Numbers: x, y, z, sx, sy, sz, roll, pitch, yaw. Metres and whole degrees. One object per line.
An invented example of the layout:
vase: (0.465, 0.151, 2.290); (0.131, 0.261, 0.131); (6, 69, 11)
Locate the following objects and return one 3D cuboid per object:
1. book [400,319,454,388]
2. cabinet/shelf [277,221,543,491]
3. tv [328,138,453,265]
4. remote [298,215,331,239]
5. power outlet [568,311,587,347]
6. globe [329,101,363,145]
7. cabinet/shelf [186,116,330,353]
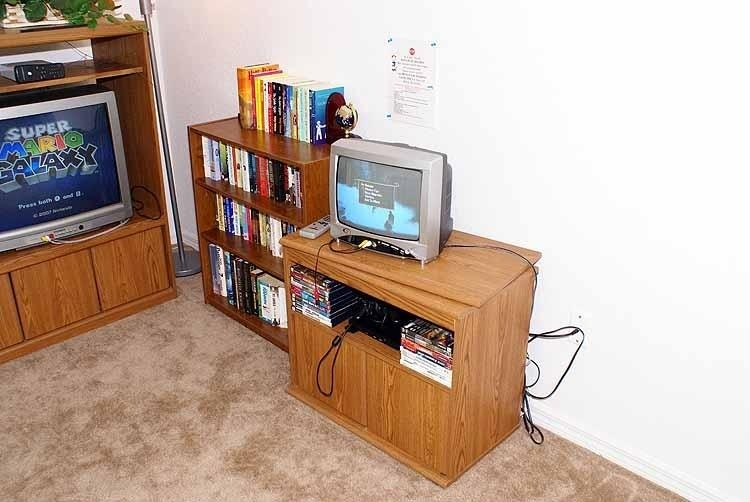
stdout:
book: (0.247, 0.467, 2.551); (0.155, 0.206, 0.287); (-14, 29, -41)
cabinet/shelf: (0.155, 0.450, 3.017); (1.140, 1.018, 0.664); (21, 33, 39)
tv: (0.114, -0.283, 2.821); (0.619, 0.517, 0.403); (15, 27, 33)
remote: (-0.294, -0.129, 2.948); (0.087, 0.023, 0.168); (14, 32, 26)
power outlet: (0.985, 0.382, 2.739); (0.033, 0.129, 0.095); (-7, 16, -28)
globe: (-0.184, -0.747, 3.144); (0.164, 0.255, 0.191); (-19, 29, -39)
cabinet/shelf: (-0.669, -0.111, 3.322); (1.125, 1.275, 0.424); (24, 33, 35)
